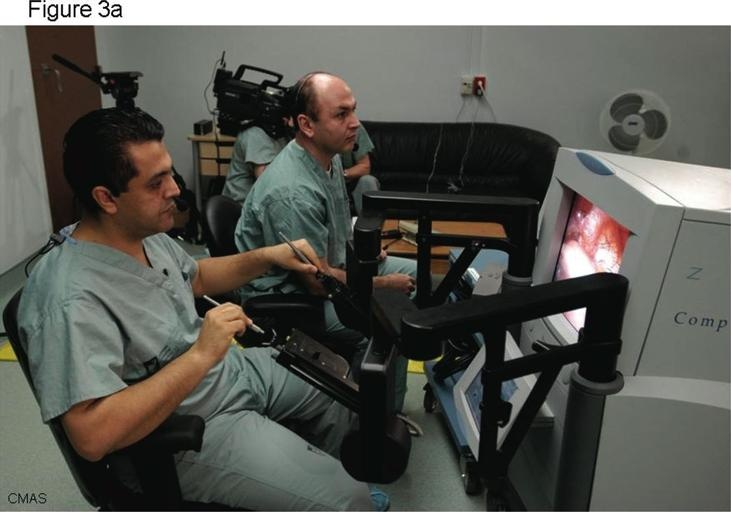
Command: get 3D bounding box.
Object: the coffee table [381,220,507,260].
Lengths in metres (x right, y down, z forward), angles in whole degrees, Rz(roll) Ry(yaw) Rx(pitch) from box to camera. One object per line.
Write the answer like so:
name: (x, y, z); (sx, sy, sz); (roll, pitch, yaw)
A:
coffee table: (0.502, -0.076, 3.342); (0.503, 0.117, 0.326); (2, 32, 2)

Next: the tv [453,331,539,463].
tv: (0.381, 0.443, 1.732); (0.122, 0.363, 0.545); (23, 9, -2)

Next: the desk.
desk: (-1.186, -0.670, 4.715); (0.581, 0.735, 0.577); (-6, 15, -12)

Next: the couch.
couch: (0.768, -0.953, 4.992); (1.910, 0.665, 0.668); (11, 22, 21)
